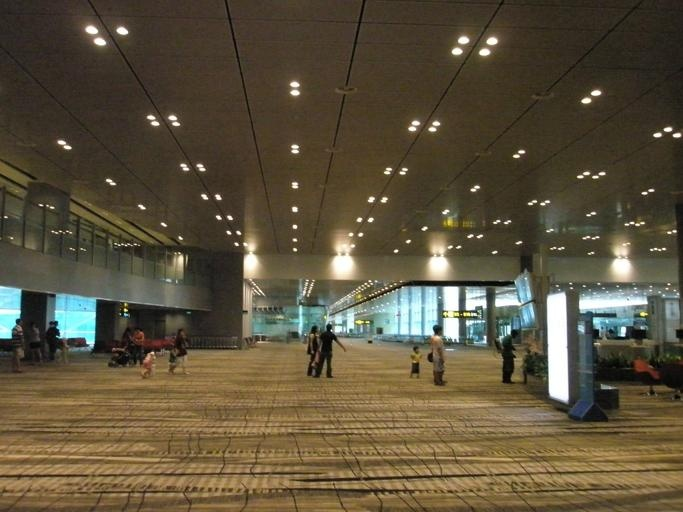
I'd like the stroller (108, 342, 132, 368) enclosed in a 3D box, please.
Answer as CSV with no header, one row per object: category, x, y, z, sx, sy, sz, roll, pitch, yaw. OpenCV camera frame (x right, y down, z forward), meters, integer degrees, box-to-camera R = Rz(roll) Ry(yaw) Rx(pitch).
stroller,-9.138,4.104,21.826,0.601,0.898,1.301,1,-9,-7

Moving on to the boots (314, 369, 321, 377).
boots,-0.832,3.894,17.597,0.183,0.280,0.518,1,-9,-4

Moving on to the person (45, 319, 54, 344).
person,-12.649,3.266,22.979,0.634,0.901,0.325,-6,-11,37
